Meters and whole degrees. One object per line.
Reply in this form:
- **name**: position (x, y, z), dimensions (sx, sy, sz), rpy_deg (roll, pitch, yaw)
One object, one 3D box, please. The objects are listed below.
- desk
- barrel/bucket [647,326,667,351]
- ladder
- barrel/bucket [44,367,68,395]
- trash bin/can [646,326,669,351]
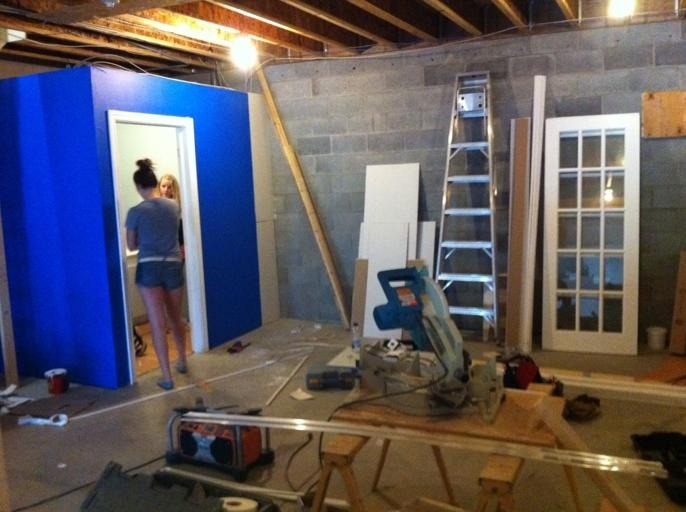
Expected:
- **desk**: position (0.654, 1.264, 3.688), dimensions (1.580, 0.860, 0.847), rpy_deg (-2, 7, 15)
- **barrel/bucket**: position (3.128, 0.827, 5.939), dimensions (0.221, 0.208, 0.209), rpy_deg (1, 1, 0)
- **ladder**: position (1.307, -0.482, 6.301), dimensions (0.640, 2.836, 0.386), rpy_deg (4, 10, 21)
- **barrel/bucket**: position (-2.601, 1.151, 5.505), dimensions (0.173, 0.231, 0.240), rpy_deg (5, 7, 32)
- **trash bin/can**: position (3.131, 0.825, 5.941), dimensions (0.223, 0.210, 0.211), rpy_deg (2, 2, 29)
